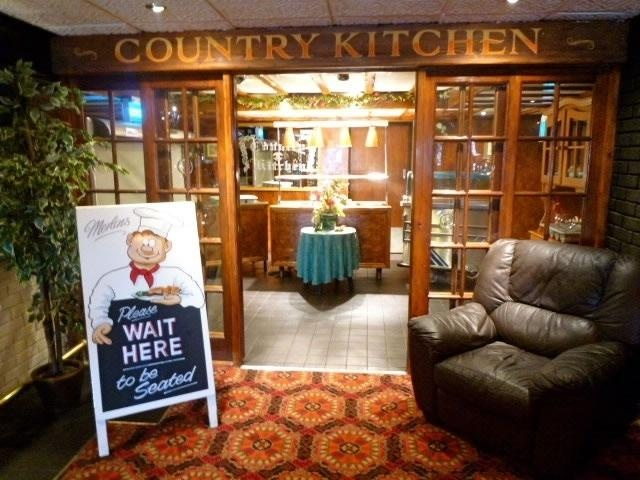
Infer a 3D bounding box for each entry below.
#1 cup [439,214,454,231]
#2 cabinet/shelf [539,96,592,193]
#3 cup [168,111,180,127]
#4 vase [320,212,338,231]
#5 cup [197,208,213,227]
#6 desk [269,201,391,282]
[{"bbox_3d":[1.504,-0.234,5.627,0.229,0.270,0.104,0,3,16],"label":"cup"},{"bbox_3d":[2.074,-0.832,4.084,0.396,0.815,0.443,-1,10,1],"label":"cabinet/shelf"},{"bbox_3d":[-1.344,-1.119,4.338,0.112,0.137,0.048,0,-1,-19],"label":"cup"},{"bbox_3d":[0.106,-0.268,6.480,0.243,0.181,0.263,3,4,32],"label":"vase"},{"bbox_3d":[-1.068,-0.231,4.406,0.180,0.144,0.111,-1,1,5],"label":"cup"},{"bbox_3d":[0.237,-0.007,7.703,1.995,1.074,1.091,4,10,11],"label":"desk"}]
